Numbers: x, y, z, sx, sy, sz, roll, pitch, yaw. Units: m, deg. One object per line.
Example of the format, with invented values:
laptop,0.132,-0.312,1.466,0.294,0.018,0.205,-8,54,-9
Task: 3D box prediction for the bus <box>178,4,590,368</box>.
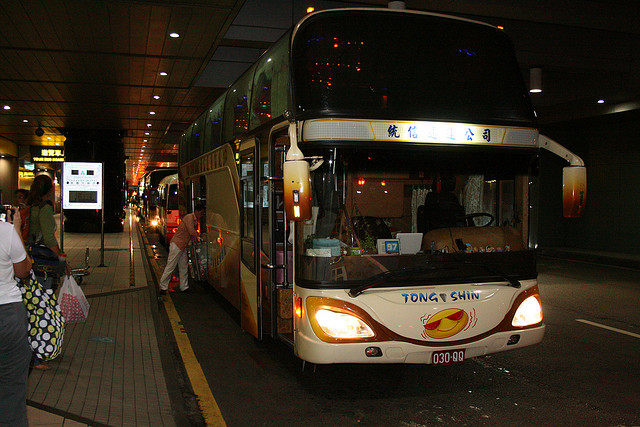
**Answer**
bus,-0.261,-0.346,11.539,3.876,4.992,10.346,0,0,-18
